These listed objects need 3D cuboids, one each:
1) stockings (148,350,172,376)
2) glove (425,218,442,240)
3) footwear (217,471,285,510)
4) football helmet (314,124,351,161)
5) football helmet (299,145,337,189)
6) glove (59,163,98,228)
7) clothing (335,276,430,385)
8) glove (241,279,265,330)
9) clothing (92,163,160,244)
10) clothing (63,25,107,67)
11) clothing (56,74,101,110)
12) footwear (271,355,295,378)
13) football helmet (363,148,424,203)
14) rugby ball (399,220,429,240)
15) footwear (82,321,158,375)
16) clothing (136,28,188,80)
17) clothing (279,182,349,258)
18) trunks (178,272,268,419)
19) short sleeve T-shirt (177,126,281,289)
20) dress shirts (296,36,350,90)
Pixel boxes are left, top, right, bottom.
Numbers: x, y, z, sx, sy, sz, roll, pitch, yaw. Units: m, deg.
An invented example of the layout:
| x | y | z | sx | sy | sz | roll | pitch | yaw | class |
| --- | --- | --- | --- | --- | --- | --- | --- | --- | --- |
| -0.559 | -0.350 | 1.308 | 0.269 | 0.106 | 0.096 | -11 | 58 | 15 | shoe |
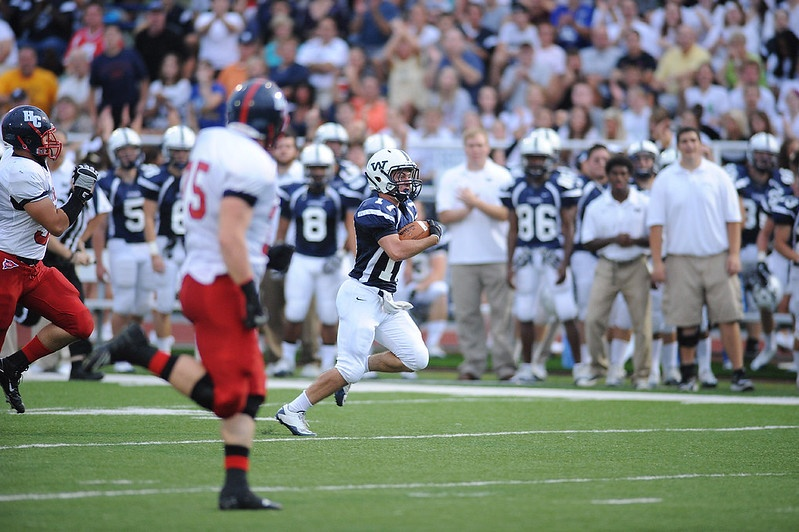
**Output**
| x | y | z | sx | sy | sz | roll | pitch | yaw | class |
| --- | --- | --- | --- | --- | --- | --- | --- | --- | --- |
| -1.558 | 0.650 | 6.880 | 0.161 | 0.137 | 0.176 | 9 | 0 | -26 | stockings |
| 0.274 | -0.323 | 8.824 | 0.121 | 0.165 | 0.165 | -8 | 1 | 17 | glove |
| -0.937 | 1.445 | 6.693 | 0.444 | 0.266 | 0.150 | -3 | 2 | 16 | footwear |
| -0.770 | -1.524 | 12.567 | 0.381 | 0.428 | 0.448 | 3 | 2 | -23 | football helmet |
| -0.922 | -1.167 | 11.905 | 0.376 | 0.475 | 0.489 | 0 | 1 | -4 | football helmet |
| -2.600 | -0.591 | 8.514 | 0.307 | 0.479 | 0.183 | 31 | -11 | -27 | glove |
| -0.153 | 0.548 | 8.779 | 0.742 | 0.884 | 0.282 | 3 | -3 | -8 | clothing |
| -0.912 | 0.249 | 6.736 | 0.138 | 0.316 | 0.225 | 1 | -3 | 26 | glove |
| -3.072 | -0.736 | 11.887 | 0.907 | 0.884 | 0.499 | 0 | 9 | -12 | clothing |
| -4.912 | -3.592 | 16.526 | 0.671 | 0.675 | 0.203 | 1 | -21 | 22 | clothing |
| -4.781 | -2.645 | 15.723 | 0.615 | 0.597 | 0.325 | 0 | -10 | 4 | clothing |
| -1.347 | 1.204 | 12.206 | 0.244 | 0.215 | 0.203 | 21 | -9 | 12 | footwear |
| -0.078 | -0.802 | 8.999 | 0.521 | 0.441 | 0.388 | 2 | 1 | 26 | football helmet |
| 0.129 | -0.309 | 8.727 | 0.269 | 0.183 | 0.158 | 3 | -3 | -11 | rugby ball |
| -1.758 | 0.573 | 7.027 | 0.618 | 0.289 | 0.219 | -12 | -16 | -5 | footwear |
| -3.653 | -3.298 | 16.125 | 0.921 | 0.750 | 0.308 | 1 | 0 | 6 | clothing |
| -0.962 | -0.565 | 11.814 | 0.874 | 0.737 | 0.312 | 1 | -2 | -4 | clothing |
| -1.168 | 0.529 | 6.870 | 0.519 | 0.937 | 0.315 | 1 | -3 | 27 | trunks |
| -1.116 | -0.368 | 7.141 | 0.658 | 1.191 | 0.941 | 8 | -2 | -28 | short sleeve T-shirt |
| -1.165 | -3.187 | 15.971 | 0.700 | 0.922 | 0.351 | 5 | -5 | 8 | dress shirts |
